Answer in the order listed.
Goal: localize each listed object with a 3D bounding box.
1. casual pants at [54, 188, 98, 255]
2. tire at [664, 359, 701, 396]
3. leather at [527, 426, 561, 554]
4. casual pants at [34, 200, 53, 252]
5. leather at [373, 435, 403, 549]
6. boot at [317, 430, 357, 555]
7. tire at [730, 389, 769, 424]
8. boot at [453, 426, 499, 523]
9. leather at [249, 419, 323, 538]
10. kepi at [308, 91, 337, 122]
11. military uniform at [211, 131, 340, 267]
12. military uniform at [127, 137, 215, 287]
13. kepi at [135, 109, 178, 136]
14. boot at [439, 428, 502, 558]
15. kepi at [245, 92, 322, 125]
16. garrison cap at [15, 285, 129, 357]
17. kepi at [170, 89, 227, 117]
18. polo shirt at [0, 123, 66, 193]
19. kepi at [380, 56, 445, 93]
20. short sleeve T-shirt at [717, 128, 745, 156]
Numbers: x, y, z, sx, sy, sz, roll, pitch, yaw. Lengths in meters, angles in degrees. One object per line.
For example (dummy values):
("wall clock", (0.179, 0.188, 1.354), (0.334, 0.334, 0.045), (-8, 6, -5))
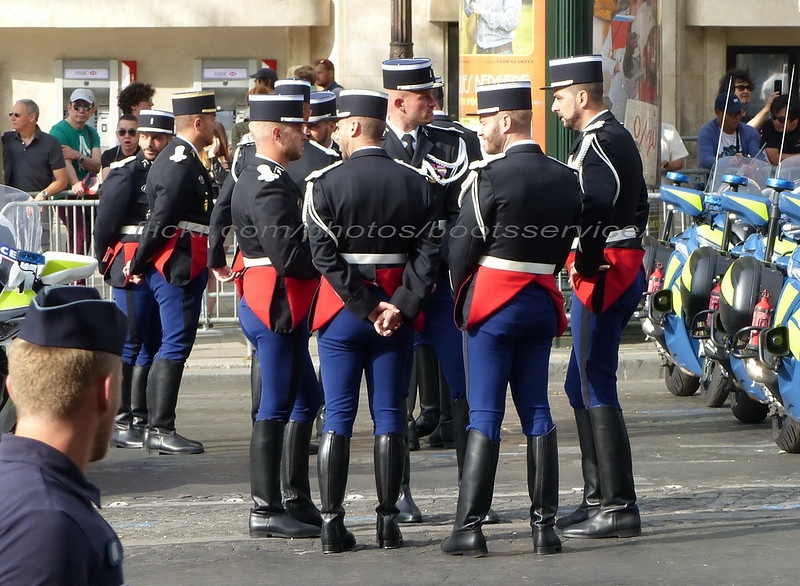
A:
("casual pants", (-3.313, -0.712, 14.514), (0.043, 0.757, 0.704), (6, 7, 37))
("tire", (2.545, 0.767, 12.878), (0.113, 0.370, 0.356), (4, 7, -22))
("leather", (0.846, 1.200, 8.466), (0.210, 0.746, 0.149), (2, 6, 6))
("casual pants", (-3.508, -0.693, 14.149), (0.127, 0.520, 0.140), (3, -13, -3))
("leather", (-0.086, 1.205, 8.650), (0.188, 0.716, 0.237), (2, 6, 6))
("boot", (-0.388, 1.214, 8.610), (0.229, 0.742, 0.213), (1, 6, -2))
("tire", (2.868, 0.942, 11.734), (0.146, 0.405, 0.391), (3, 2, -10))
("boot", (0.436, 1.121, 8.425), (0.240, 0.621, 0.205), (3, 6, 16))
("leather", (-0.744, 1.177, 8.961), (0.416, 0.740, 0.182), (1, 6, -5))
("kepi", (-0.610, -1.431, 10.811), (0.225, 0.196, 0.281), (0, 11, -1))
("military uniform", (-1.020, -0.683, 10.362), (0.610, 1.101, 0.325), (10, 4, 17))
("military uniform", (-1.833, -0.699, 11.725), (0.949, 1.505, 1.041), (-2, 5, -9))
("kepi", (-1.966, -1.400, 11.552), (0.245, 0.149, 0.201), (9, 1, -36))
("boot", (0.392, 1.214, 8.538), (0.233, 0.771, 0.532), (8, -12, -26))
("kepi", (-0.776, -1.161, 8.949), (0.252, 0.155, 0.197), (6, -1, -12))
("garrison cap", (-1.343, 0.115, 5.814), (0.265, 0.189, 0.383), (12, -3, 19))
("kepi", (-1.639, -1.491, 11.071), (0.249, 0.153, 0.257), (1, 10, 24))
("polo shirt", (-3.961, -1.442, 15.321), (0.928, 0.823, 0.408), (4, 9, 15))
("kepi", (0.024, -1.447, 9.330), (0.277, 0.116, 0.218), (7, 19, 25))
("short sleeve T-shirt", (3.500, -1.618, 15.131), (0.373, 0.397, 0.165), (0, -37, 4))
